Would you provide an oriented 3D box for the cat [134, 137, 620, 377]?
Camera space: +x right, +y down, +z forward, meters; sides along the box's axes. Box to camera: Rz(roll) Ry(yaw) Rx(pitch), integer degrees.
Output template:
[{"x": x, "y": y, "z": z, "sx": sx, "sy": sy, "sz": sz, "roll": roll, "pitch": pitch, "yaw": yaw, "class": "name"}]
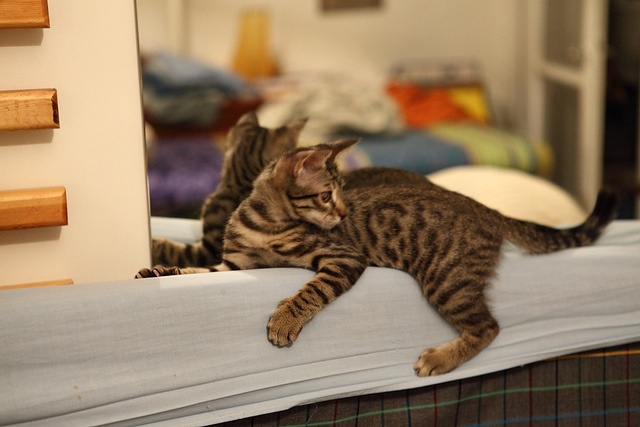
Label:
[{"x": 0.320, "y": 0.146, "z": 2.342, "sx": 1.702, "sy": 0.603, "sz": 0.597, "roll": 6, "pitch": 0, "yaw": -3, "class": "cat"}]
